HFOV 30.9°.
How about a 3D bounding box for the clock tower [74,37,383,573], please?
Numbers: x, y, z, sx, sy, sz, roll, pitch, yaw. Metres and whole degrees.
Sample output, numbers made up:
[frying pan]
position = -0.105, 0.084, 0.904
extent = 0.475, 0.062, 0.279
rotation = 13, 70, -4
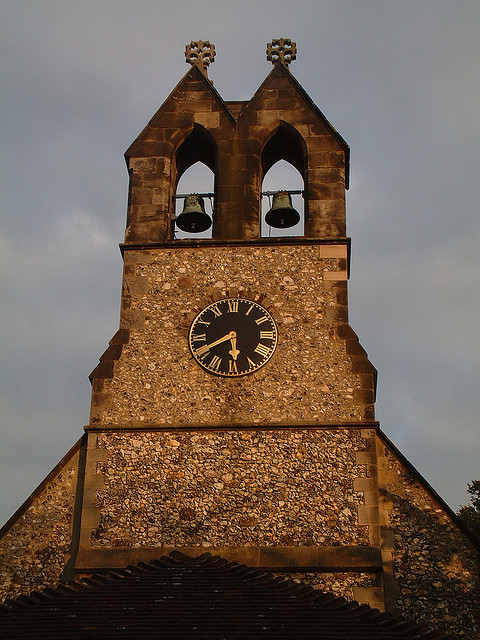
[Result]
[clock tower]
position = -0.050, -0.319, 13.553
extent = 4.183, 10.121, 1.101
rotation = -1, -20, 3

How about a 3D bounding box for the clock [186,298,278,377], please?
[clock]
position = -0.091, 0.311, 13.009
extent = 1.414, 1.341, 0.084
rotation = 1, -38, 2
